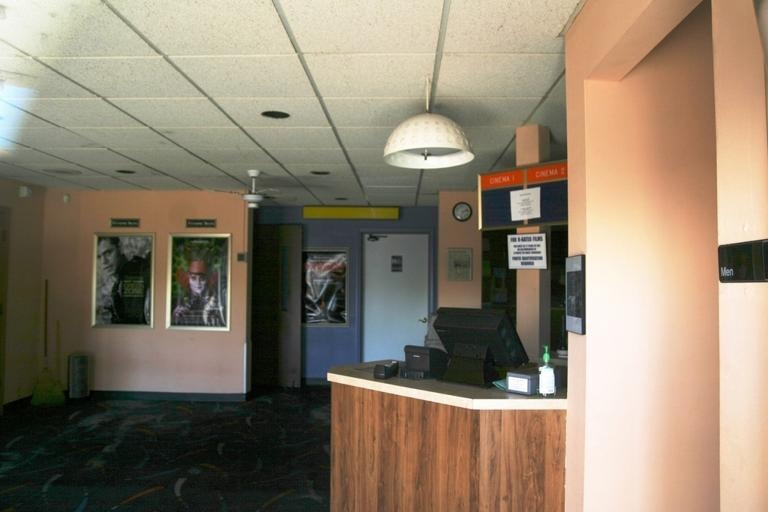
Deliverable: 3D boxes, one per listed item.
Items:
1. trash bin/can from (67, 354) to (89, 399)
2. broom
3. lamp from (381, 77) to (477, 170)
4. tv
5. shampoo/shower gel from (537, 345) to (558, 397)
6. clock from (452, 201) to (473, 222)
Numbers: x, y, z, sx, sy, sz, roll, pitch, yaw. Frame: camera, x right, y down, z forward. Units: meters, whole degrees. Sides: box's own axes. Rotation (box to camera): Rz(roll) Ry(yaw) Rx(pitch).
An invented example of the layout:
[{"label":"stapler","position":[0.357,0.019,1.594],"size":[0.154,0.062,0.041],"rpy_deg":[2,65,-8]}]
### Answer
[{"label":"trash bin/can","position":[-4.409,1.739,8.505],"size":[0.270,0.646,0.197],"rpy_deg":[-2,6,-26]},{"label":"broom","position":[-4.817,1.217,8.415],"size":[0.415,1.716,0.592],"rpy_deg":[-2,6,-28]},{"label":"lamp","position":[0.354,-1.020,4.850],"size":[0.735,0.753,0.710],"rpy_deg":[1,-4,-3]},{"label":"tv","position":[0.753,0.696,4.725],"size":[0.405,0.560,0.706],"rpy_deg":[1,-4,-38]},{"label":"shampoo/shower gel","position":[1.214,0.862,4.385],"size":[0.161,0.359,0.134],"rpy_deg":[-4,-6,22]},{"label":"clock","position":[1.156,-0.659,8.775],"size":[0.271,0.258,0.264],"rpy_deg":[-2,-5,-1]}]
